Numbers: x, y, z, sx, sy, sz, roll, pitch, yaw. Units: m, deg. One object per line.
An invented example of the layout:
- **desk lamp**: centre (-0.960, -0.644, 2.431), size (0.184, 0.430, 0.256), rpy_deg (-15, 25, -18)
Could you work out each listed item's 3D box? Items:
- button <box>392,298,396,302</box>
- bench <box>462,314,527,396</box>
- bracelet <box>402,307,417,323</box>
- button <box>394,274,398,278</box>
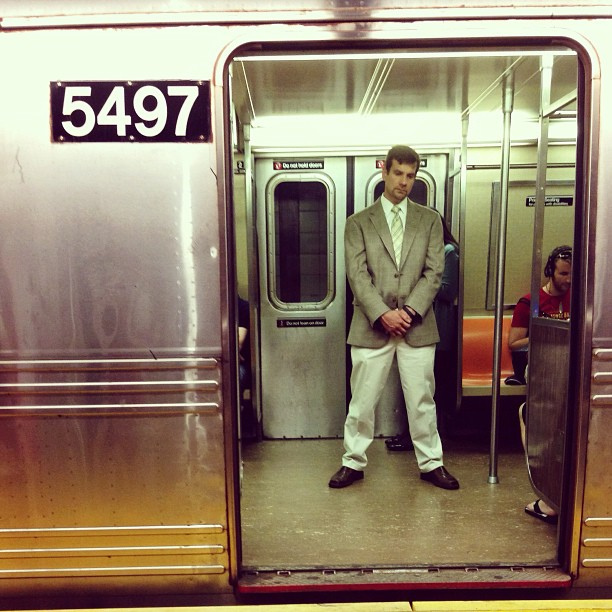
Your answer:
- **button**: centre (0.585, -0.041, 4.671), size (0.024, 0.024, 0.005), rpy_deg (1, 6, 11)
- **bench**: centre (1.491, 0.375, 5.746), size (0.671, 0.754, 0.537), rpy_deg (1, -3, 1)
- **bracelet**: centre (0.680, 0.052, 4.593), size (0.021, 0.082, 0.078), rpy_deg (-32, 45, -5)
- **button**: centre (0.599, -0.198, 4.671), size (0.020, 0.024, 0.007), rpy_deg (1, 6, 8)
